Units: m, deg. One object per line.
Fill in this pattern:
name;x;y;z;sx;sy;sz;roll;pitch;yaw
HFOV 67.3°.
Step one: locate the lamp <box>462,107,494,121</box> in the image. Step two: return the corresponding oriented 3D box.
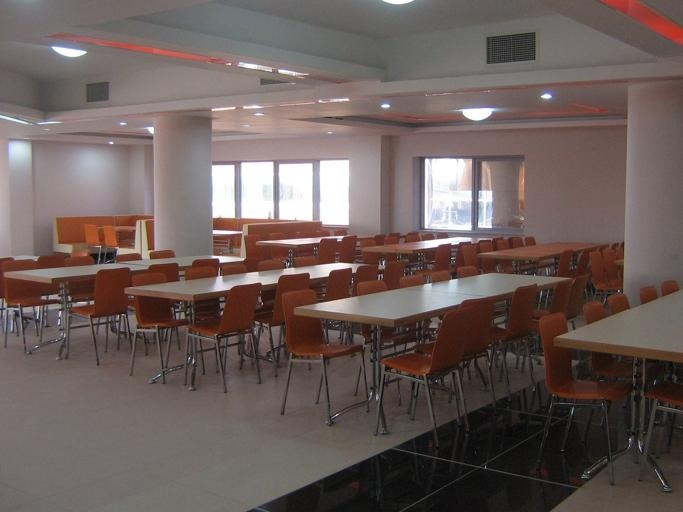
lamp;2.608;-2.712;9.788;0.502;0.174;0.536;1;5;23
